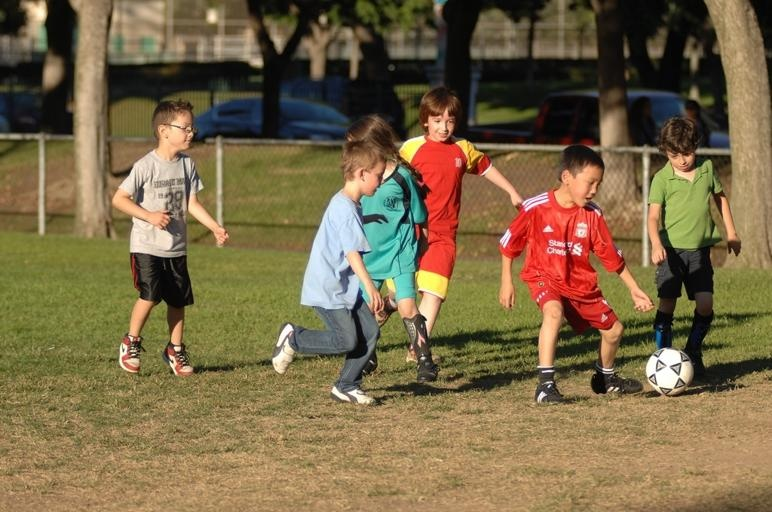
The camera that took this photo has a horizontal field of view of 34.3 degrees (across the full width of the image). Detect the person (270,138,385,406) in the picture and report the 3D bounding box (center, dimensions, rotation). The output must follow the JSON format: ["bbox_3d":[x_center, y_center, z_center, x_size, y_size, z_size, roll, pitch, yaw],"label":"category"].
[{"bbox_3d":[-0.416,0.189,13.006,1.323,2.662,1.000,2,1,35],"label":"person"}]

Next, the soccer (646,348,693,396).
[{"bbox_3d":[3.014,1.228,13.409,0.748,0.483,0.487,-2,-1,7],"label":"soccer"}]

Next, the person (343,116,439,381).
[{"bbox_3d":[0.016,-0.040,13.357,0.995,2.800,1.057,-2,8,29],"label":"person"}]

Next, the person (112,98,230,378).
[{"bbox_3d":[-2.402,-0.158,13.440,1.020,2.956,0.541,-1,6,-13],"label":"person"}]

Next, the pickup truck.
[{"bbox_3d":[3.896,-2.642,24.602,4.641,1.663,1.998,0,3,42],"label":"pickup truck"}]
